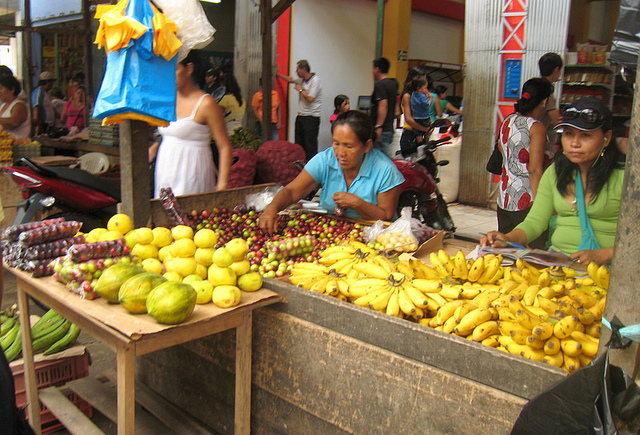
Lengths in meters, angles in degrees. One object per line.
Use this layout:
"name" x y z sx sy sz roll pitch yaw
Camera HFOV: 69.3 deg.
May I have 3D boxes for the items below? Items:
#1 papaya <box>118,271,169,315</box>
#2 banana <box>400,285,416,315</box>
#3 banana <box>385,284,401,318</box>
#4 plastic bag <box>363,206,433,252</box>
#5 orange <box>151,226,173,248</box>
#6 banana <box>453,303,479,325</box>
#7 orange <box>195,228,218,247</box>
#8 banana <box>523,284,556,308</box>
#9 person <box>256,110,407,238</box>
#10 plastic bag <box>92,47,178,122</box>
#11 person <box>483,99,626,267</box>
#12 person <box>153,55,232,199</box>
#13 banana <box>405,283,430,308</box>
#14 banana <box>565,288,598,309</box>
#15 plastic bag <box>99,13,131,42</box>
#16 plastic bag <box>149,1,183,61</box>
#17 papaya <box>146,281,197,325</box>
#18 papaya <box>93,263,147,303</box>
"papaya" -0.906 0.381 2.399 0.236 0.148 0.155 -12 36 -40
"banana" 0.452 0.440 2.450 0.047 0.045 0.152 6 27 -16
"banana" 0.383 0.441 2.491 0.049 0.062 0.188 -37 33 15
"plastic bag" 0.553 0.078 3.330 0.505 0.260 0.360 4 12 9
"orange" -1.014 0.113 2.972 0.121 0.123 0.114 21 0 -39
"banana" 0.761 0.477 2.388 0.054 0.069 0.203 -31 -2 42
"orange" -0.665 0.125 2.670 0.116 0.114 0.127 0 12 -14
"banana" 1.177 0.416 2.529 0.087 0.040 0.158 17 19 27
"person" 0.071 -0.073 4.062 1.215 1.661 0.791 3 23 -1
"plastic bag" -1.185 -0.851 2.972 0.516 0.434 0.178 -1 12 -18
"person" 1.655 -0.248 3.118 0.647 1.054 0.631 9 13 32
"person" -1.124 -0.764 4.042 0.652 1.222 0.459 -2 12 -19
"banana" 0.517 0.422 2.508 0.062 0.057 0.188 37 5 -41
"banana" 1.409 0.416 2.493 0.090 0.058 0.175 12 9 26
"plastic bag" -1.280 -1.170 2.872 0.252 0.172 0.060 10 14 33
"plastic bag" -0.985 -1.162 2.941 0.153 0.338 0.149 -14 17 -20
"papaya" -0.746 0.426 2.293 0.238 0.198 0.131 0 11 -11
"papaya" -1.062 0.321 2.443 0.220 0.143 0.151 -11 22 -32
